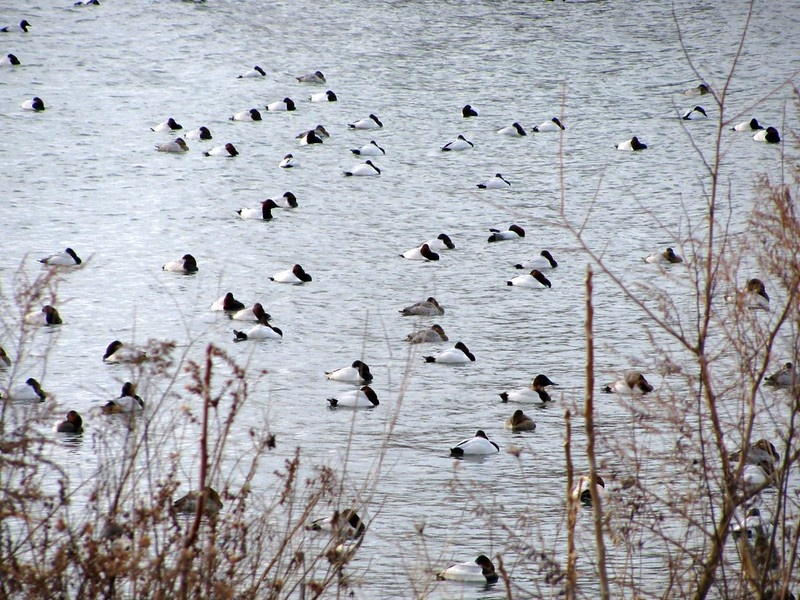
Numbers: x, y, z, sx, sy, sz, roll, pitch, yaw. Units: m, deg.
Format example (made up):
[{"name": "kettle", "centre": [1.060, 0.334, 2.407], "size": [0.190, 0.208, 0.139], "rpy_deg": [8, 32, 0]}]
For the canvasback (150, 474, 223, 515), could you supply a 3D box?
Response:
[{"name": "canvasback", "centre": [-4.052, 3.995, 30.632], "size": [1.651, 0.463, 1.833], "rpy_deg": [-11, 0, -22]}]
